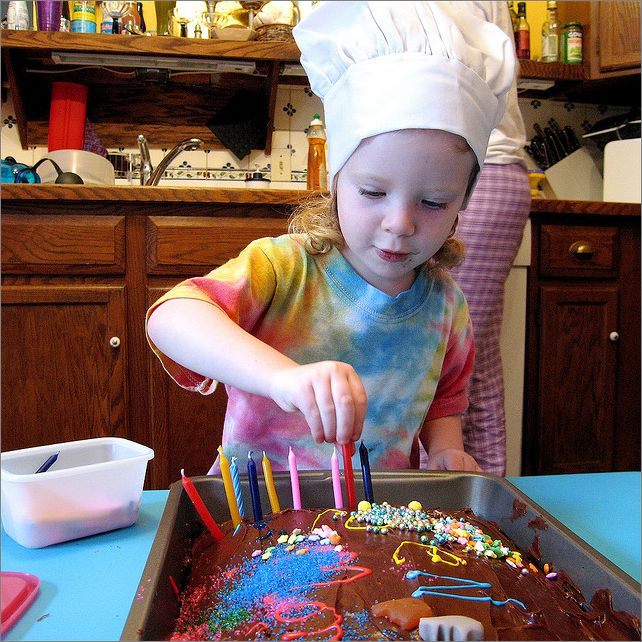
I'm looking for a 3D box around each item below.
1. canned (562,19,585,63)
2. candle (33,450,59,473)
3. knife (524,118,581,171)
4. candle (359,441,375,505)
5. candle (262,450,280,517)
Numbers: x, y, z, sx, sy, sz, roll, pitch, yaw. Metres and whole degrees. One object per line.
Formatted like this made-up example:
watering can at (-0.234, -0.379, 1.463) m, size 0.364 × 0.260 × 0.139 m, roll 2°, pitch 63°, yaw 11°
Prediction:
canned at (0.937, -1.041, 2.339) m, size 0.105 × 0.143 × 0.107 m, roll 6°, pitch 19°, yaw 37°
candle at (-0.302, 0.154, 0.683) m, size 0.005 × 0.006 × 0.038 m, roll 11°, pitch 36°, yaw 26°
knife at (0.928, -0.716, 2.515) m, size 0.202 × 0.206 × 0.053 m, roll -26°, pitch 8°, yaw -9°
candle at (0.051, 0.159, 0.656) m, size 0.009 × 0.090 × 0.010 m, roll -16°, pitch 22°, yaw -19°
candle at (-0.051, 0.167, 0.620) m, size 0.011 × 0.082 × 0.011 m, roll -3°, pitch 9°, yaw 23°
